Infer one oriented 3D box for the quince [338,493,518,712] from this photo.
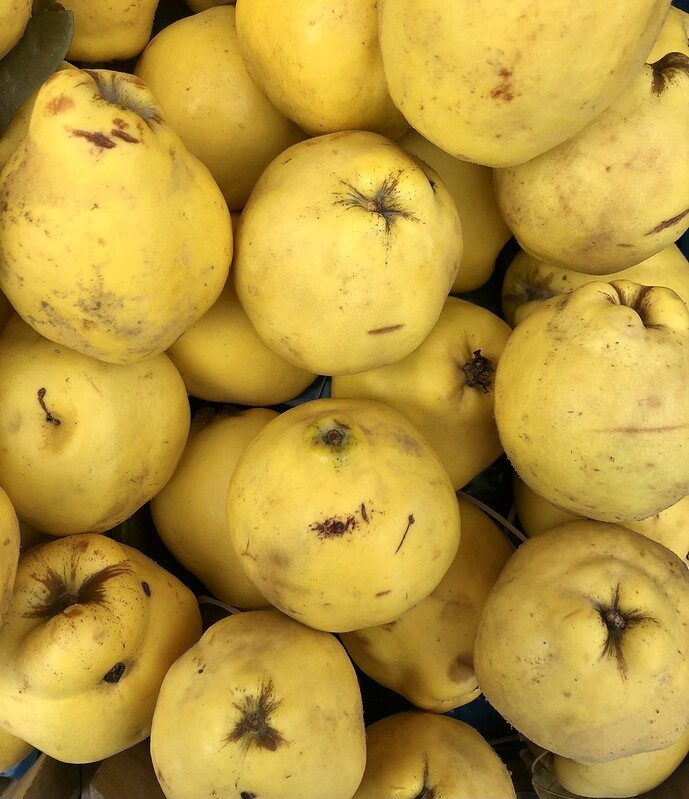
[{"bbox_3d":[0.132,0.300,1.502,0.295,0.345,0.282,-4,-26,6],"label":"quince"}]
